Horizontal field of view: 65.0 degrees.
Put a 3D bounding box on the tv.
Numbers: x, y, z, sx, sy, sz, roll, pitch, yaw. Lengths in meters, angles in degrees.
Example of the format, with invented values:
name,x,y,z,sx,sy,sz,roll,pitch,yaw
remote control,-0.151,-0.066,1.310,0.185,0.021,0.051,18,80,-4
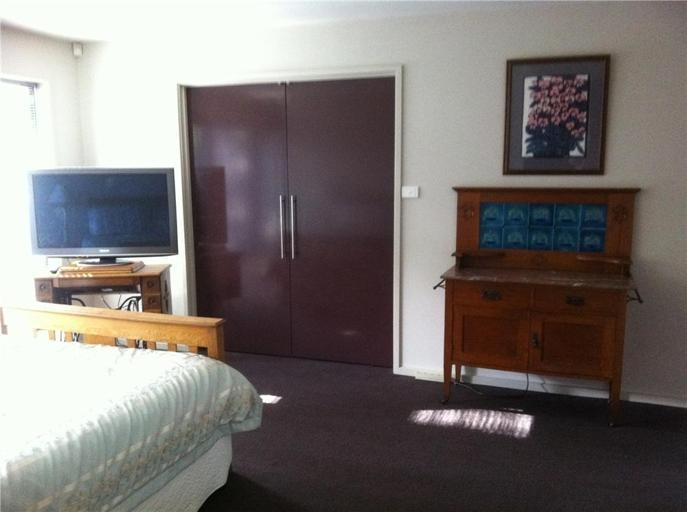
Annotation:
name,x,y,z,sx,sy,sz,roll,pitch,yaw
tv,-1.818,-0.325,4.077,1.074,0.667,0.147,1,7,3

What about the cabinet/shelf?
name,x,y,z,sx,sy,sz,roll,pitch,yaw
cabinet/shelf,1.290,0.265,3.661,1.257,1.527,0.588,2,3,21

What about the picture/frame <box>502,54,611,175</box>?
name,x,y,z,sx,sy,sz,roll,pitch,yaw
picture/frame,1.481,-0.991,3.673,0.805,1.011,0.044,1,4,11
